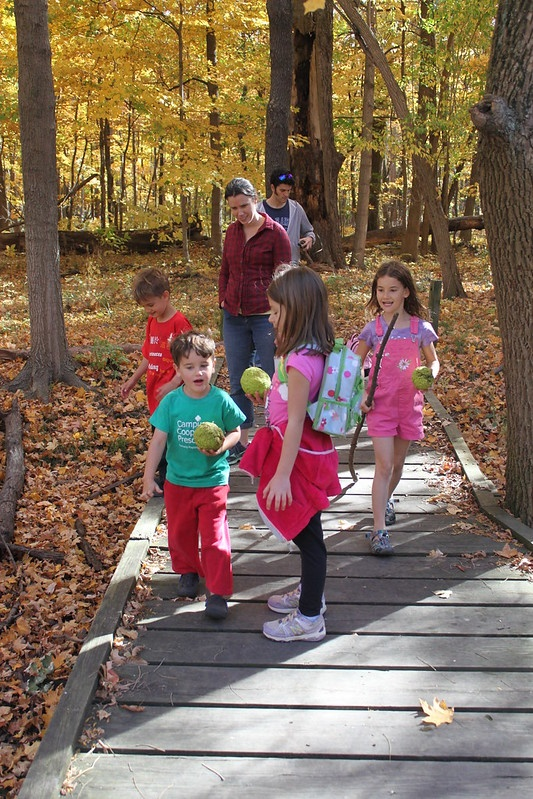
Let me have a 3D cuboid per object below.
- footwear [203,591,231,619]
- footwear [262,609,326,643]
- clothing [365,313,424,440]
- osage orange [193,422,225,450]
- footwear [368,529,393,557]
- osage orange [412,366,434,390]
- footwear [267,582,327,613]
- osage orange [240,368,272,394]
[{"bbox_3d":[-0.234,0.975,3.225,0.096,0.109,0.098,-1,13,4],"label":"footwear"},{"bbox_3d":[0.127,1.007,3.093,0.306,0.132,0.115,0,16,-1],"label":"footwear"},{"bbox_3d":[0.791,-0.110,4.052,0.441,0.703,0.203,-11,16,-32],"label":"clothing"},{"bbox_3d":[-0.252,0.176,3.164,0.144,0.133,0.126,-7,14,-19],"label":"osage orange"},{"bbox_3d":[0.651,0.815,3.900,0.125,0.133,0.122,1,14,12],"label":"footwear"},{"bbox_3d":[0.876,-0.113,3.866,0.110,0.121,0.061,-5,-15,12],"label":"osage orange"},{"bbox_3d":[0.157,0.947,3.335,0.340,0.153,0.122,-2,17,3],"label":"footwear"},{"bbox_3d":[-0.040,-0.088,3.253,0.116,0.137,0.109,-43,4,10],"label":"osage orange"}]
